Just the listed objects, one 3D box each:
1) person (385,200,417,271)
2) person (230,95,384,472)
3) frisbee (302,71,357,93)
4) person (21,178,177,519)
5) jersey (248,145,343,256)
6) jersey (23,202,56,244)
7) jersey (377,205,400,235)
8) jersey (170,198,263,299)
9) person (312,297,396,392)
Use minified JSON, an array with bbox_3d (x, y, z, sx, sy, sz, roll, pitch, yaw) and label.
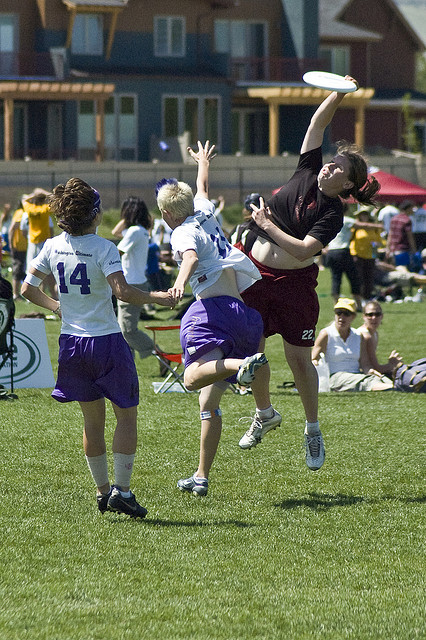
[{"bbox_3d":[2.939,-1.293,17.954,0.462,1.063,0.871,2,6,9],"label":"person"},{"bbox_3d":[0.457,-0.307,6.139,0.590,2.151,0.560,12,6,17],"label":"person"},{"bbox_3d":[0.631,-1.286,6.267,0.264,0.140,0.515,1,6,-4],"label":"frisbee"},{"bbox_3d":[-0.527,0.145,5.256,0.701,1.542,0.372,1,5,3],"label":"person"},{"bbox_3d":[0.468,-0.575,5.947,0.393,0.666,0.357,-10,21,-20],"label":"jersey"},{"bbox_3d":[-2.126,-1.133,14.263,0.503,0.567,0.436,1,2,41],"label":"jersey"},{"bbox_3d":[3.028,-1.713,19.841,0.335,0.448,0.735,2,6,8],"label":"jersey"},{"bbox_3d":[-0.020,-0.338,5.676,0.317,0.486,0.669,4,7,24],"label":"jersey"},{"bbox_3d":[1.164,0.199,9.090,0.425,0.799,0.751,3,-6,-38],"label":"person"}]
